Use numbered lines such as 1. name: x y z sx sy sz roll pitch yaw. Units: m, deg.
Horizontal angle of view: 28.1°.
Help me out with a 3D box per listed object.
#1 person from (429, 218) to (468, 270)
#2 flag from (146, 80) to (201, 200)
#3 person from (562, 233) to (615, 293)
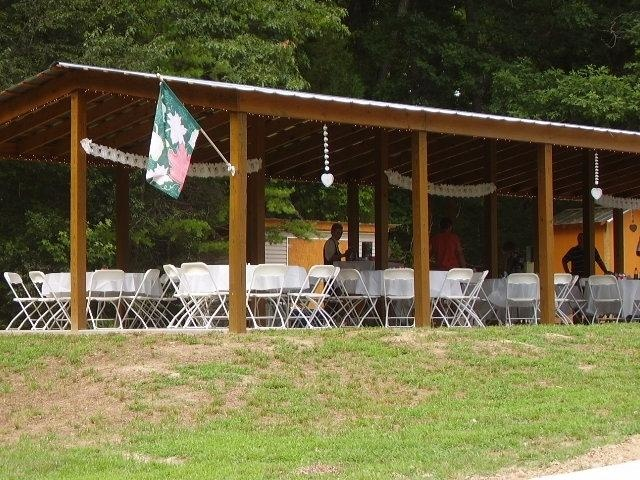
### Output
1. person: 2.540 0.182 25.677 0.672 1.151 1.191 1 13 4
2. flag: -2.531 -1.762 21.882 0.790 0.288 2.518 10 -47 -9
3. person: 6.005 0.518 28.445 0.865 1.875 0.496 -2 -3 -27
